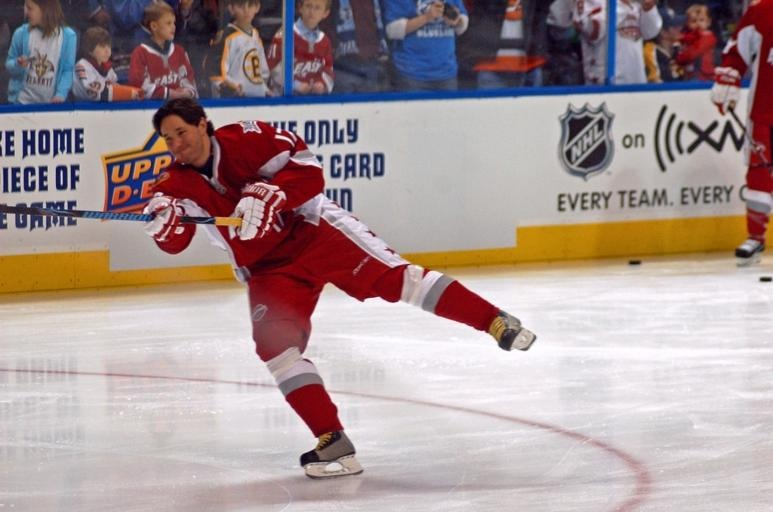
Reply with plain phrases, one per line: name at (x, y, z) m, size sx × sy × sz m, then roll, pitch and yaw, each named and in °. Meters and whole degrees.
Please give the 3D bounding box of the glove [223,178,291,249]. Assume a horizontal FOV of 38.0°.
glove at (-0.571, -0.229, 5.278) m, size 0.166 × 0.355 × 0.274 m, roll -15°, pitch 46°, yaw -30°

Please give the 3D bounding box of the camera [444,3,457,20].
camera at (0.525, -2.023, 9.335) m, size 0.111 × 0.134 × 0.069 m, roll -19°, pitch 17°, yaw -11°

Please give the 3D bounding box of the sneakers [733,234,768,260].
sneakers at (3.098, -0.072, 9.533) m, size 0.370 × 0.131 × 0.128 m, roll -19°, pitch 5°, yaw -41°

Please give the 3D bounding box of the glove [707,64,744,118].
glove at (2.887, -1.416, 9.525) m, size 0.278 × 0.360 × 0.127 m, roll 11°, pitch 3°, yaw 21°

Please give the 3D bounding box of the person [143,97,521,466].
person at (-0.357, 0.129, 5.307) m, size 1.506 × 1.701 × 0.656 m, roll 6°, pitch 16°, yaw 24°

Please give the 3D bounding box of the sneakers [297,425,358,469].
sneakers at (-0.247, 0.901, 5.217) m, size 0.319 × 0.199 × 0.116 m, roll -12°, pitch -4°, yaw 26°

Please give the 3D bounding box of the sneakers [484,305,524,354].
sneakers at (0.579, 0.331, 5.253) m, size 0.189 × 0.117 × 0.303 m, roll -8°, pitch 27°, yaw -16°
